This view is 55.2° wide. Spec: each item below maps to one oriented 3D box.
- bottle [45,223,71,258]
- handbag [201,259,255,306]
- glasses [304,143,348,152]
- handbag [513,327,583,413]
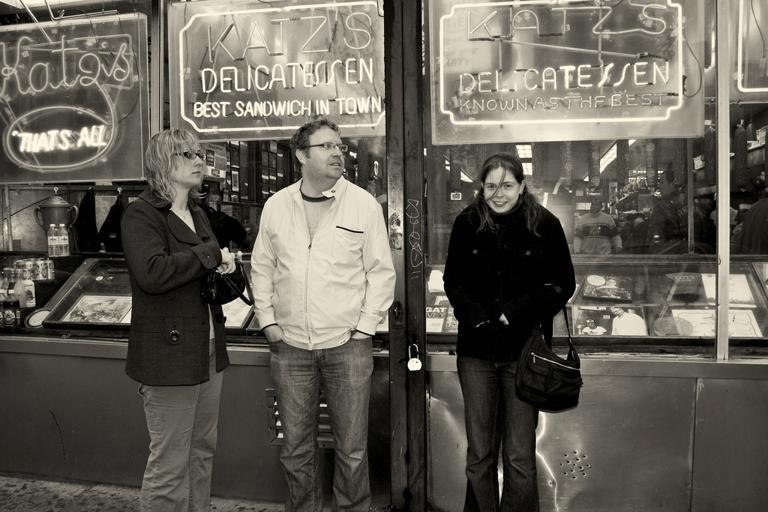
[{"bbox_3d":[-2.789,-0.136,6.244,0.168,0.287,0.088,-5,8,-24],"label":"bottle"},{"bbox_3d":[-1.050,0.183,4.765,0.137,0.287,0.286,0,-1,20],"label":"handbag"},{"bbox_3d":[-0.401,-0.719,4.854,0.240,0.061,0.081,-4,9,-19],"label":"glasses"},{"bbox_3d":[1.068,0.698,4.688,0.380,0.523,0.276,13,-9,-3],"label":"handbag"}]
